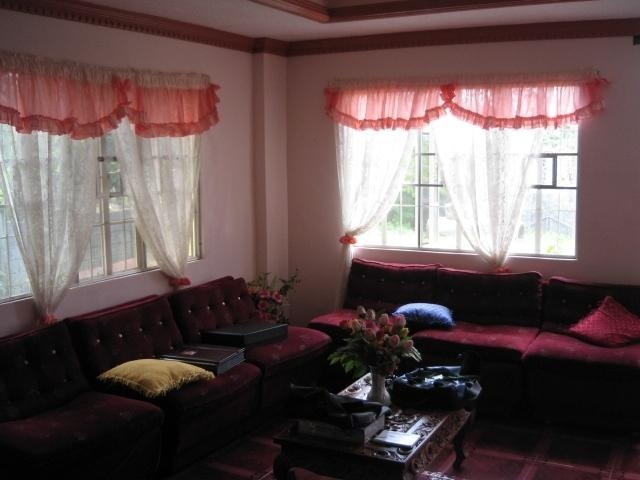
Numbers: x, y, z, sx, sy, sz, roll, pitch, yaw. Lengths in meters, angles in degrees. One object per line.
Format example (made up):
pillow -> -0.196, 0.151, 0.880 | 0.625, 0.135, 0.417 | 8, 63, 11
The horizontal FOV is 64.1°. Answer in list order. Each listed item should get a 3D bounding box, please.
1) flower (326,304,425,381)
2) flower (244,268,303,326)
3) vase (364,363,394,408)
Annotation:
flower -> 0.396, 0.730, 3.692 | 0.650, 0.566, 0.648 | 2, -6, 3
flower -> -0.513, 0.583, 5.562 | 0.520, 0.672, 0.609 | -1, 4, 23
vase -> 0.393, 0.993, 3.512 | 0.146, 0.335, 0.162 | -18, 26, -34
